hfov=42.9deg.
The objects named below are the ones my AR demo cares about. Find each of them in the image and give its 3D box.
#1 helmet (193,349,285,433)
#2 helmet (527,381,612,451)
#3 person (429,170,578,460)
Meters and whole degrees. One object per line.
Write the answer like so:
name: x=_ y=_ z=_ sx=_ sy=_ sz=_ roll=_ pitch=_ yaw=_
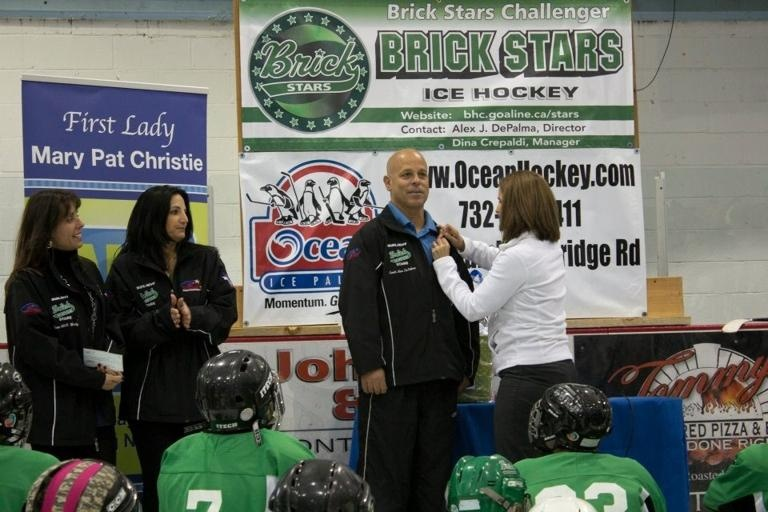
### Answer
helmet: x=-0.870 y=0.861 z=6.238 sx=0.391 sy=0.501 sz=0.518 roll=-1 pitch=3 yaw=16
helmet: x=1.160 y=1.025 z=6.276 sx=0.383 sy=0.418 sz=0.450 roll=0 pitch=11 yaw=-21
person: x=0.911 y=0.423 z=7.081 sx=0.897 sy=2.061 sz=0.501 roll=-2 pitch=-5 yaw=14
